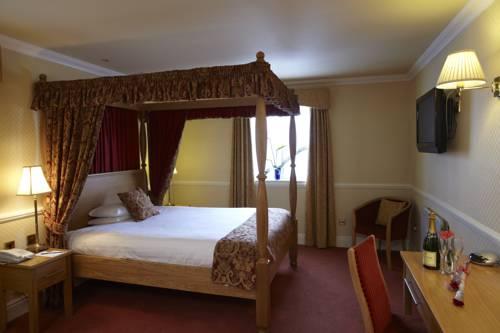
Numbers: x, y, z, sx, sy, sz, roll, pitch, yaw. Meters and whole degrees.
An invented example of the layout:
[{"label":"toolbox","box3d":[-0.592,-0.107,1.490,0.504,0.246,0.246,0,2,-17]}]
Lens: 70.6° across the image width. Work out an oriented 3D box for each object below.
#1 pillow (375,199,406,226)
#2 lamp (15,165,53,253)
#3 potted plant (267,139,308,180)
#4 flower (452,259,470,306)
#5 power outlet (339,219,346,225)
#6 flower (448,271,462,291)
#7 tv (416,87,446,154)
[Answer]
[{"label":"pillow","box3d":[2.560,0.849,6.466,0.143,0.456,0.473,27,-12,-18]},{"label":"lamp","box3d":[-2.966,0.583,4.916,0.403,1.206,0.494,-9,15,-34]},{"label":"potted plant","box3d":[0.749,-0.124,7.649,0.808,0.773,0.834,3,-3,-17]},{"label":"flower","box3d":[2.035,1.089,3.435,0.128,0.110,0.620,-25,7,28]},{"label":"power outlet","box3d":[1.816,1.090,6.994,0.104,0.106,0.012,1,-3,13]},{"label":"flower","box3d":[2.001,1.108,3.474,0.082,0.087,0.279,22,15,22]},{"label":"tv","box3d":[2.511,-0.630,4.895,0.195,0.766,1.007,-1,0,13]}]
